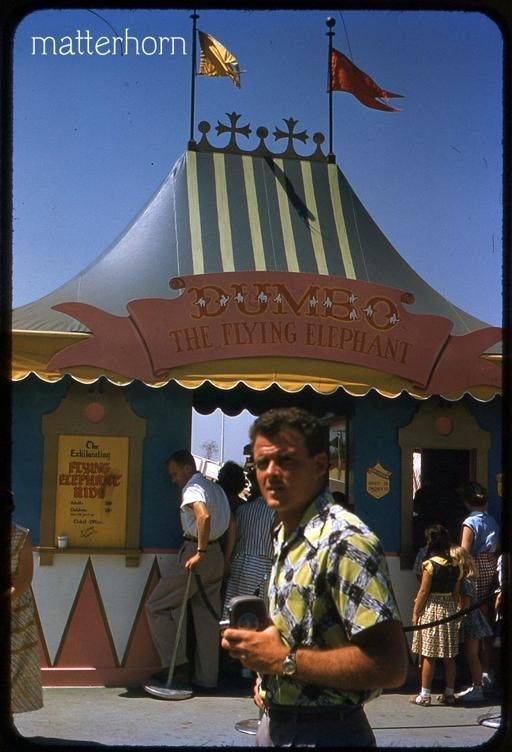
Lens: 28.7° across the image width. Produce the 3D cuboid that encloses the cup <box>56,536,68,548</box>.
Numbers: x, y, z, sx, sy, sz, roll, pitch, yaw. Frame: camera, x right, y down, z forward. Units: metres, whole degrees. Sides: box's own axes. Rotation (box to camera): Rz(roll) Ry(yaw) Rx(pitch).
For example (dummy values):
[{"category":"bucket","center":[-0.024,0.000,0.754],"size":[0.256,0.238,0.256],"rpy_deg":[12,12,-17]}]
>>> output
[{"category":"cup","center":[-1.339,1.146,6.903],"size":[0.073,0.085,0.063],"rpy_deg":[2,-7,-12]}]

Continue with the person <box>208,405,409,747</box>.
[{"category":"person","center":[0.210,0.615,3.035],"size":[0.580,1.049,0.362],"rpy_deg":[-2,-8,25]}]

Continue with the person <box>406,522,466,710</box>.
[{"category":"person","center":[1.176,1.547,6.470],"size":[0.329,1.136,0.487],"rpy_deg":[0,-7,9]}]

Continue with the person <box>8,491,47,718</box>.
[{"category":"person","center":[-1.102,1.158,4.794],"size":[0.163,0.919,0.371],"rpy_deg":[2,-7,-11]}]

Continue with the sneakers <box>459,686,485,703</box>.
[{"category":"sneakers","center":[1.421,2.086,6.562],"size":[0.163,0.094,0.095],"rpy_deg":[3,-9,0]}]

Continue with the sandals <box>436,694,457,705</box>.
[{"category":"sandals","center":[1.246,2.100,6.501],"size":[0.063,0.045,0.111],"rpy_deg":[2,-4,-2]}]

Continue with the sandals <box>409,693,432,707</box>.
[{"category":"sandals","center":[1.074,2.089,6.484],"size":[0.146,0.086,0.077],"rpy_deg":[1,-11,33]}]
